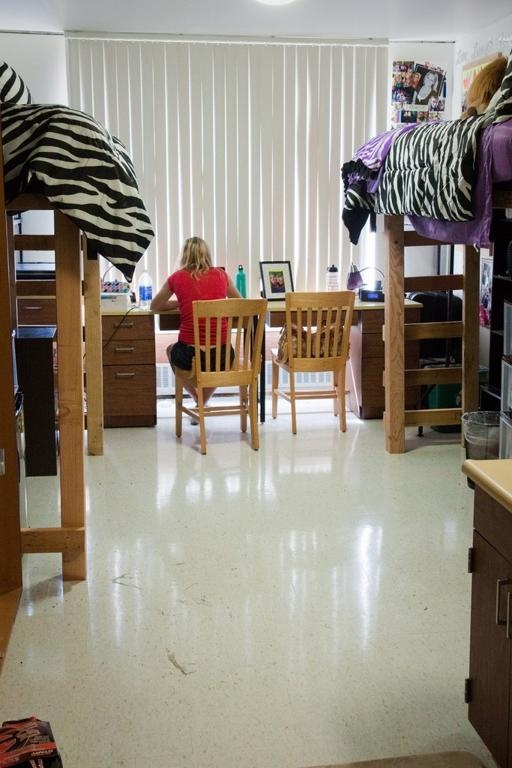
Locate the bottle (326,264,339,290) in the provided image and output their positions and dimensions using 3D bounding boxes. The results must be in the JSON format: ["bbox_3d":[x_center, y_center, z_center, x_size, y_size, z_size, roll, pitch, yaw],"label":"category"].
[{"bbox_3d":[0.615,-0.841,4.829,0.097,0.195,0.216,1,7,7],"label":"bottle"}]

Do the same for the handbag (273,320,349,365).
[{"bbox_3d":[0.321,-0.260,3.868,0.281,0.156,0.288,-7,11,-37],"label":"handbag"}]

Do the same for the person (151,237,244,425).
[{"bbox_3d":[-0.384,-0.337,3.950,0.450,1.216,0.570,0,12,1],"label":"person"}]

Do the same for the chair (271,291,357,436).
[{"bbox_3d":[0.387,-0.182,4.020,0.426,0.967,0.560,-4,13,-15],"label":"chair"}]
